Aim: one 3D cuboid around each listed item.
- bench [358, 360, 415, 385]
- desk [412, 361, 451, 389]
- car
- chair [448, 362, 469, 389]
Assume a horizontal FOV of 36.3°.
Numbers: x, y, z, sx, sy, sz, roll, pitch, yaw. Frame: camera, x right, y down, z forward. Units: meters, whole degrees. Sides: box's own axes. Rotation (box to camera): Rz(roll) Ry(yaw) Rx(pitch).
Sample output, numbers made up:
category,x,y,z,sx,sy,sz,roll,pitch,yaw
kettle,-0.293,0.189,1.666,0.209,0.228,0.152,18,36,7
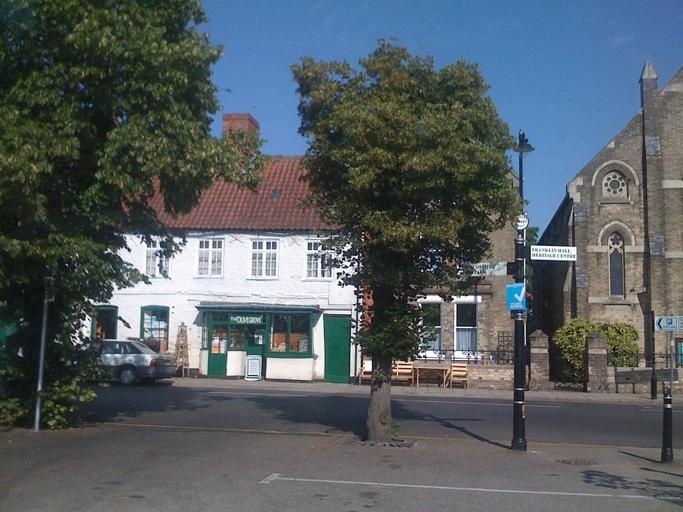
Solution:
category,x,y,z,sx,sy,sz,roll,pitch,yaw
bench,1.649,4.434,39.926,1.995,1.039,1.674,-9,-12,41
desk,3.369,4.516,39.910,1.001,0.632,1.001,-1,-14,7
car,-7.837,3.734,37.029,3.804,1.338,1.656,2,-4,6
chair,4.417,4.519,39.700,0.794,1.077,0.807,2,-5,5
